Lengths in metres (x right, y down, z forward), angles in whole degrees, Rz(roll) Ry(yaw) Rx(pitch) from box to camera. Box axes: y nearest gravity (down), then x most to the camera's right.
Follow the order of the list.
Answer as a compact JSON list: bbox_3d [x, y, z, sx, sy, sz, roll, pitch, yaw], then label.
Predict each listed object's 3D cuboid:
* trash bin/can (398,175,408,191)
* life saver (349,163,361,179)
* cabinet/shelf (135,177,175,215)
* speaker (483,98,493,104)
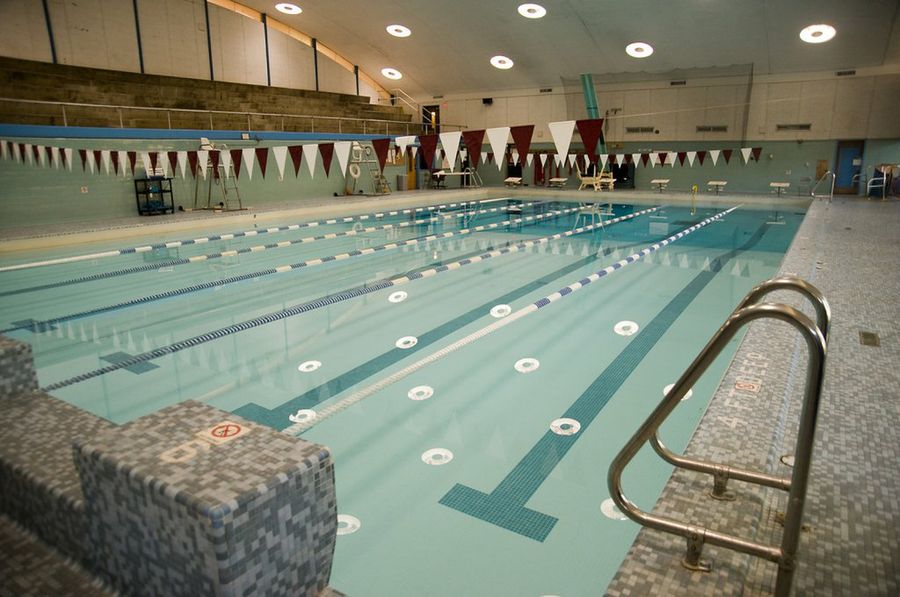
[{"bbox_3d":[-1.318,-3.213,14.511,0.199,0.400,0.454,6,15,25],"label":"trash bin/can"},{"bbox_3d":[-2.378,-3.100,12.710,0.192,0.372,0.392,4,14,15],"label":"life saver"},{"bbox_3d":[-5.195,-1.787,9.045,0.571,0.616,0.319,-17,35,-35],"label":"cabinet/shelf"},{"bbox_3d":[1.130,-5.999,15.917,0.309,0.162,0.214,7,10,39],"label":"speaker"}]
